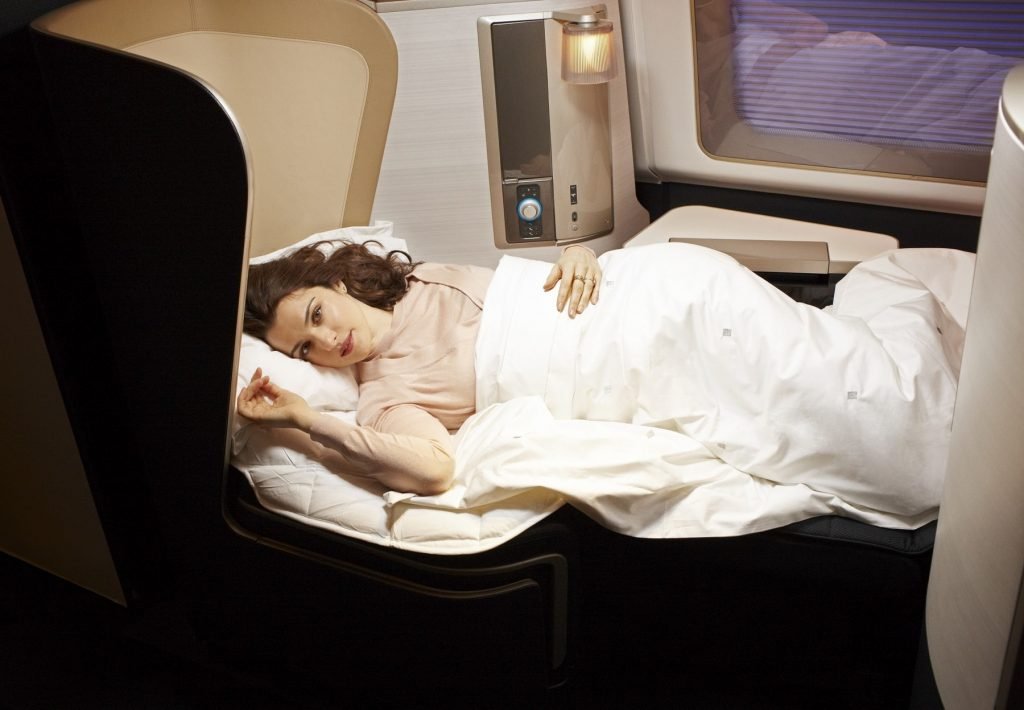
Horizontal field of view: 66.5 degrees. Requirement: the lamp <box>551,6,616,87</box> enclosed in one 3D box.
[{"bbox_3d":[0.203,-0.855,2.206,0.178,0.195,0.194,14,33,29],"label":"lamp"}]
